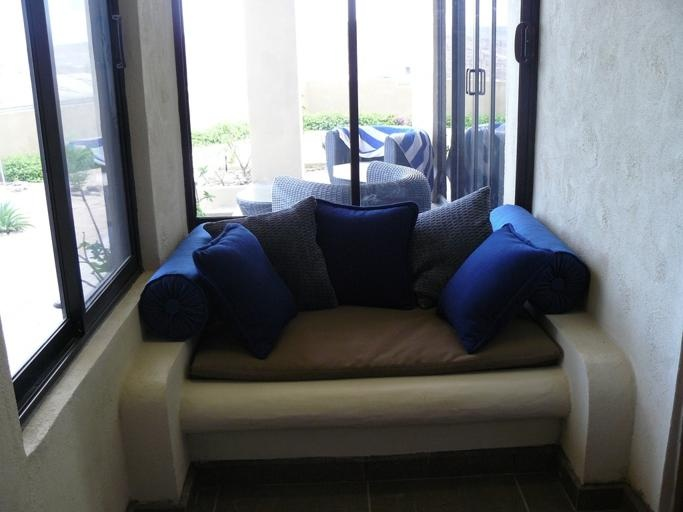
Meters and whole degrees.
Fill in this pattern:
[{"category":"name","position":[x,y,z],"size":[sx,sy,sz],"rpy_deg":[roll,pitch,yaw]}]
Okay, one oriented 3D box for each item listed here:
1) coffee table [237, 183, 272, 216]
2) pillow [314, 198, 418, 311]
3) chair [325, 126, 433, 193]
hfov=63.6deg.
[{"category":"coffee table","position":[-0.517,-0.342,3.331],"size":[0.197,0.129,0.212],"rpy_deg":[2,42,1]},{"category":"pillow","position":[0.132,0.019,2.884],"size":[0.536,0.570,0.200],"rpy_deg":[0,-4,3]},{"category":"chair","position":[0.250,-0.615,3.426],"size":[0.401,0.366,0.413],"rpy_deg":[0,9,5]}]
